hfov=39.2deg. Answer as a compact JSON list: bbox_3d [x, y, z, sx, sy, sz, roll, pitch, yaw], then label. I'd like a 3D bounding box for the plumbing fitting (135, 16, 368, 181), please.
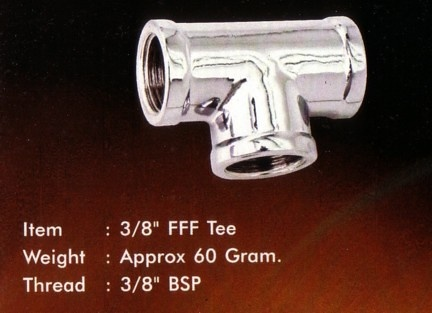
[{"bbox_3d":[0.125,-0.158,1.586,0.510,0.398,0.313,-1,-6,-9],"label":"plumbing fitting"}]
